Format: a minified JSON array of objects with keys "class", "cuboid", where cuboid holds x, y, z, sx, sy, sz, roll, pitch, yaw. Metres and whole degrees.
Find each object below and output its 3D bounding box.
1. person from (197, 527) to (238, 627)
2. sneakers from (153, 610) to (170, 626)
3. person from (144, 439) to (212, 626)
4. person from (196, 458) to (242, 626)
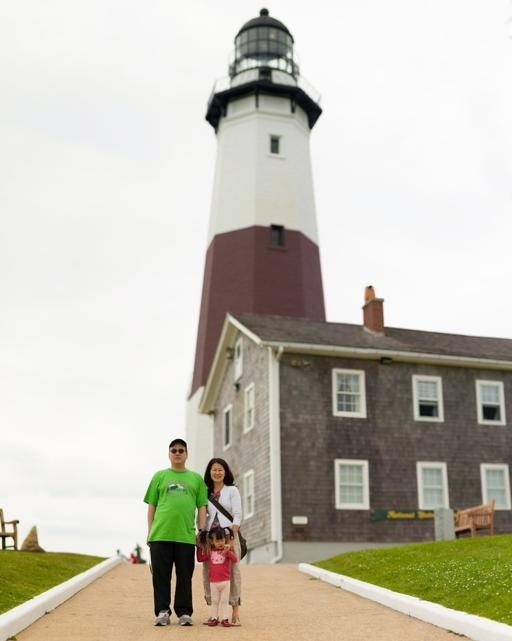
[{"class":"person","cuboid":[-0.360,2.362,5.433,0.299,1.006,0.234,-1,3,-7]},{"class":"sneakers","cuboid":[-0.831,2.663,5.241,0.075,0.121,0.151,-3,-19,13]},{"class":"person","cuboid":[-0.714,1.939,5.362,0.589,1.621,0.555,4,-13,-20]},{"class":"person","cuboid":[-0.365,2.199,5.856,0.334,1.564,0.412,-2,-15,-3]}]
